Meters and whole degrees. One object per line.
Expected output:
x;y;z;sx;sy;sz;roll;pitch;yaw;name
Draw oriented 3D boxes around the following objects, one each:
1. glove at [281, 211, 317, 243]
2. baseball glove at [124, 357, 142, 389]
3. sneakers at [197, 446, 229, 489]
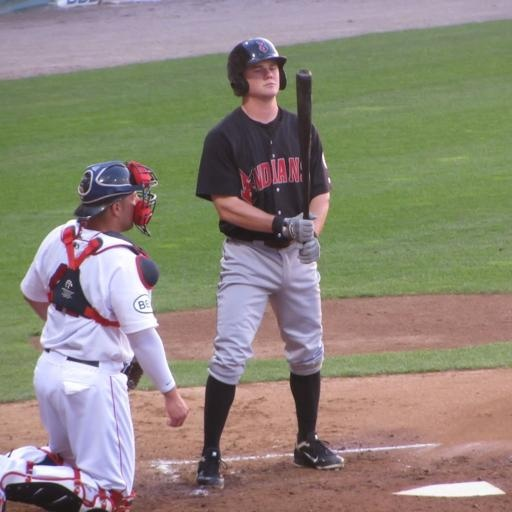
0.488;-0.295;15.241;0.349;0.306;0.191;0;14;1;glove
-1.318;1.268;14.932;0.125;0.396;0.158;4;9;-22;baseball glove
-0.482;2.350;15.217;0.201;0.241;0.541;4;15;0;sneakers
